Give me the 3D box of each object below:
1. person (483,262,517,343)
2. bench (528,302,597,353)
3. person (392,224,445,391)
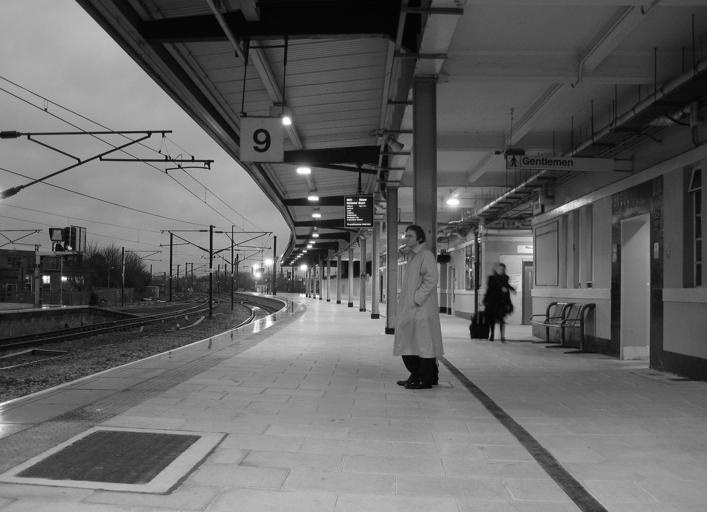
[{"bbox_3d":[3.819,1.211,16.309,0.800,2.053,1.406,-1,-1,14],"label":"person"},{"bbox_3d":[4.981,1.683,14.903,0.721,1.156,2.133,1,-3,-3],"label":"bench"},{"bbox_3d":[0.941,0.751,9.126,0.704,2.457,0.596,0,-1,5],"label":"person"}]
